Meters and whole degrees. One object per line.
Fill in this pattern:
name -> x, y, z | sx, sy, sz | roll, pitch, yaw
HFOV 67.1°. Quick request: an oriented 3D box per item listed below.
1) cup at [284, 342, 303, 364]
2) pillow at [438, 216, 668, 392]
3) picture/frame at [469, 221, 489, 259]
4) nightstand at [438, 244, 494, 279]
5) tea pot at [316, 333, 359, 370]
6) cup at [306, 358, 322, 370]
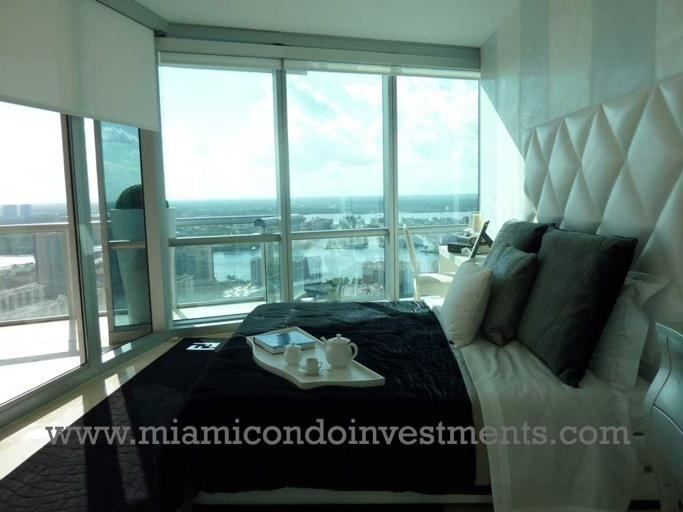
cup -> -0.261, 0.536, 2.876 | 0.101, 0.101, 0.110 | 0, 0, 0
pillow -> 1.253, 0.231, 2.965 | 0.296, 0.874, 0.976 | 35, -5, -28
picture/frame -> 1.262, -0.140, 4.715 | 0.078, 0.262, 0.324 | 28, 25, 18
nightstand -> 1.225, 0.011, 5.321 | 0.312, 0.330, 0.523 | -3, 17, -9
tea pot -> -0.028, 0.519, 2.859 | 0.228, 0.144, 0.139 | 1, 1, -6
cup -> -0.146, 0.568, 2.737 | 0.067, 0.054, 0.083 | -1, -5, 9
